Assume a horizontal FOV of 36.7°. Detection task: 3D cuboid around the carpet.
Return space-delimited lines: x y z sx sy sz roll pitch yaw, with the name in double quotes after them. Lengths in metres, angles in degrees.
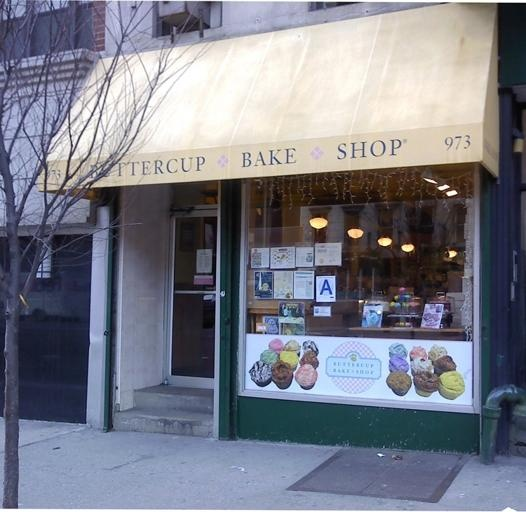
1.120 2.052 7.432 1.331 0.035 1.557 0 4 28 "carpet"
